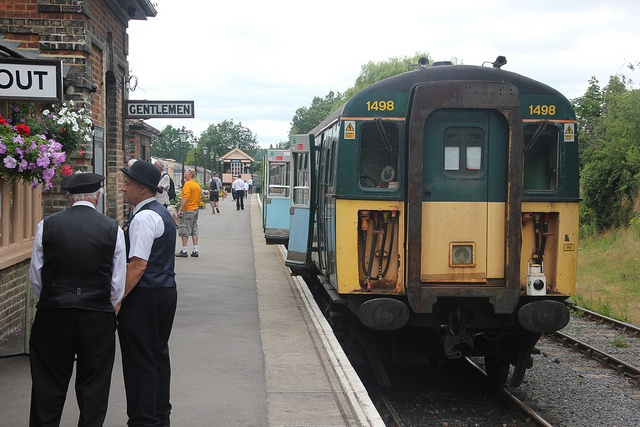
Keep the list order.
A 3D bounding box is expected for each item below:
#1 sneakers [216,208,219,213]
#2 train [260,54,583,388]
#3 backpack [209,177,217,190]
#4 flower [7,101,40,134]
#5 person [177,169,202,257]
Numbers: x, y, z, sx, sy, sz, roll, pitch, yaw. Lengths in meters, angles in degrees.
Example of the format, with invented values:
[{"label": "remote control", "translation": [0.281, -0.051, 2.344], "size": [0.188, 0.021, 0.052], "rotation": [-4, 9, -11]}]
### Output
[{"label": "sneakers", "translation": [-5.838, -0.109, 30.465], "size": [0.096, 0.294, 0.107], "rotation": [-3, 2, -3]}, {"label": "train", "translation": [1.429, -0.068, 8.802], "size": [4.002, 3.485, 8.223], "rotation": [-1, 0, -7]}, {"label": "backpack", "translation": [-6.190, -1.626, 30.968], "size": [0.442, 0.552, 0.573], "rotation": [1, -7, -8]}, {"label": "flower", "translation": [-4.253, -1.367, 7.776], "size": [0.507, 0.294, 0.506], "rotation": [11, -6, 3]}, {"label": "person", "translation": [-3.597, 0.054, 14.685], "size": [0.592, 2.471, 1.192], "rotation": [1, 5, -14]}]
